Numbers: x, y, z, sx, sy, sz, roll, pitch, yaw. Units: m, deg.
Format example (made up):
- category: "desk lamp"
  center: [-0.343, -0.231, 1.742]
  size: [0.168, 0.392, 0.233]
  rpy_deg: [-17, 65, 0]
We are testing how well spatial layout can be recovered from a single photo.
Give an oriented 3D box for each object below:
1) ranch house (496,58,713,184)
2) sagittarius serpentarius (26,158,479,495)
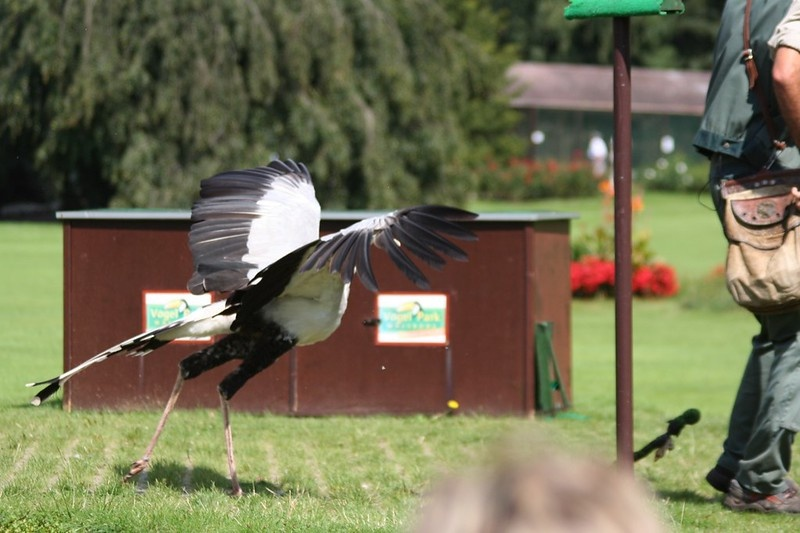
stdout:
- category: "ranch house"
  center: [4.809, -3.310, 40.253]
  size: [4.412, 1.750, 2.709]
  rpy_deg: [1, 18, -4]
- category: "sagittarius serpentarius"
  center: [-2.258, 0.928, 19.928]
  size: [4.154, 3.066, 5.818]
  rpy_deg: [-11, 15, -18]
